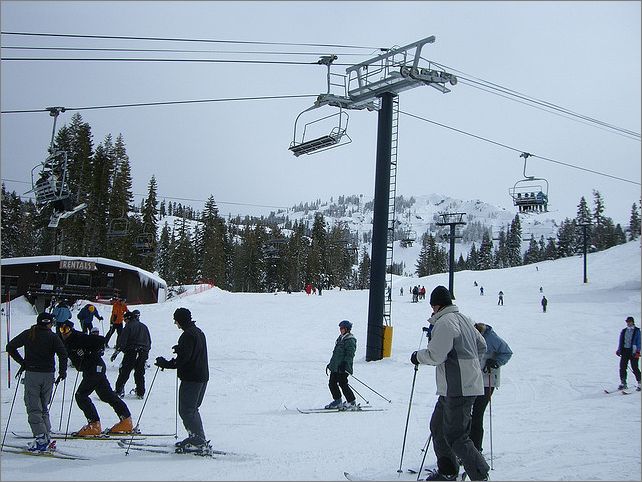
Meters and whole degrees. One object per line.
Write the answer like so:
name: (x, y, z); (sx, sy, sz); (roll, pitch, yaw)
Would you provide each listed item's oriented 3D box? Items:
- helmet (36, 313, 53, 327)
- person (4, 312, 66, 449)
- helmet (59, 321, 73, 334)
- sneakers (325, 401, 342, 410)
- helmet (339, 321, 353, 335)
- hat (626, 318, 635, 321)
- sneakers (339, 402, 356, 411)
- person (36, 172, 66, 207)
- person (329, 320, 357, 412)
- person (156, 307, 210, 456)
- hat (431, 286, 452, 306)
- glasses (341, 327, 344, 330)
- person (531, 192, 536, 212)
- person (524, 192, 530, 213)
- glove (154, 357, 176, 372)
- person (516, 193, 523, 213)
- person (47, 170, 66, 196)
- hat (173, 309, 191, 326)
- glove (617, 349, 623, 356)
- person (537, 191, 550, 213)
helmet: (-6.191, 1.724, 14.727); (0.238, 0.335, 0.300); (11, -3, 20)
person: (-6.243, 3.048, 14.588); (1.139, 2.943, 0.893); (1, -2, -17)
helmet: (-5.947, 1.971, 15.340); (0.292, 0.375, 0.401); (7, -3, -8)
sneakers: (0.362, 4.415, 17.957); (0.524, 0.245, 0.184); (0, -15, 0)
helmet: (0.667, 2.323, 17.922); (0.307, 0.366, 0.376); (0, -2, 35)
hat: (9.449, 2.354, 20.212); (0.193, 0.151, 0.200); (0, -5, -7)
sneakers: (0.761, 4.449, 17.916); (0.374, 0.183, 0.239); (8, -18, -11)
person: (-8.769, -1.655, 21.486); (1.054, 1.240, 0.868); (1, -2, -6)
person: (0.579, 3.323, 17.997); (0.742, 2.368, 0.962); (0, -2, 2)
person: (-2.956, 3.032, 14.574); (1.030, 3.104, 0.635); (1, -2, -22)
hat: (2.418, 1.096, 13.460); (0.357, 0.409, 0.418); (1, -5, -6)
glasses: (0.572, 2.326, 17.772); (0.144, 0.075, 0.042); (-2, -3, 44)
person: (11.029, -2.106, 34.404); (0.218, 0.887, 0.246); (0, -2, 19)
person: (10.751, -2.071, 34.598); (0.227, 0.891, 0.216); (0, -2, 8)
glove: (-3.388, 2.690, 14.401); (0.445, 0.190, 0.325); (5, 3, -35)
person: (10.393, -2.049, 34.730); (0.318, 0.988, 1.684); (0, -3, 16)
person: (-8.633, -1.912, 21.544); (0.464, 0.869, 0.197); (3, -19, -36)
hat: (-3.087, 1.665, 14.746); (0.325, 0.425, 0.426); (1, 0, 0)
glove: (9.234, 3.439, 20.522); (0.159, 0.175, 0.047); (7, 19, -7)
person: (11.485, -2.060, 34.286); (0.632, 1.055, 0.387); (3, -3, -43)
